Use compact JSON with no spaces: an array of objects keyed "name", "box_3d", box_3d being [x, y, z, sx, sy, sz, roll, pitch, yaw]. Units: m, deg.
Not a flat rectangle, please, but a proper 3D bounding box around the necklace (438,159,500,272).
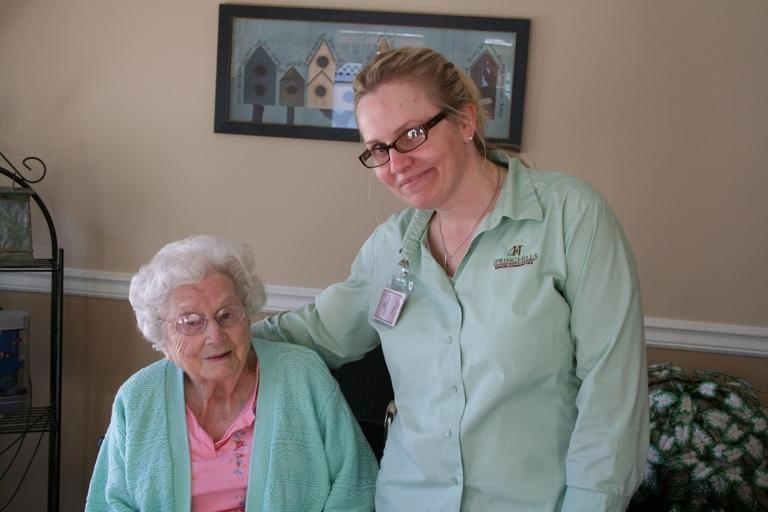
[{"name":"necklace","box_3d":[0.281,-0.133,2.160,0.178,0.367,0.055,17,12,39]}]
